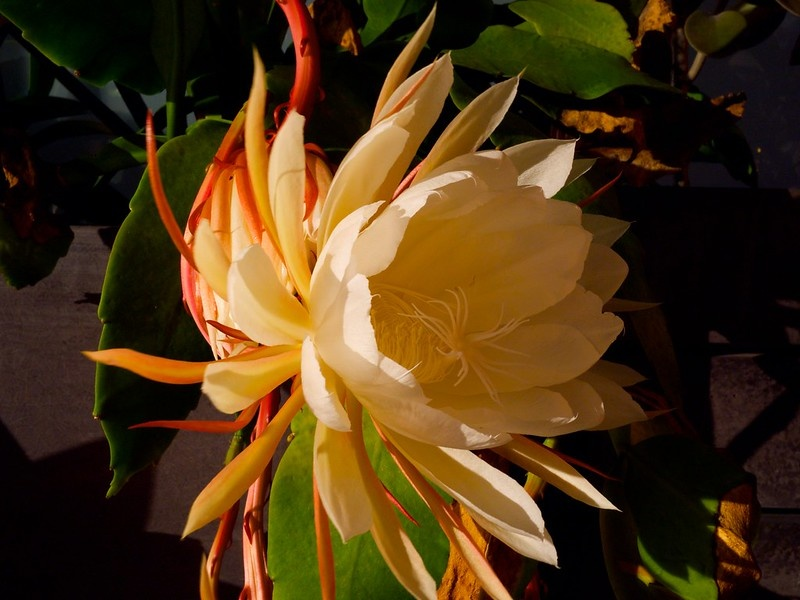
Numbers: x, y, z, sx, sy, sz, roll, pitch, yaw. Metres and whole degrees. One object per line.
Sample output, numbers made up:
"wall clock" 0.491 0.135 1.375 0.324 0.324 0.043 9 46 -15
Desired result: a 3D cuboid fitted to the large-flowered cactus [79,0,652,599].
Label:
"large-flowered cactus" -0.018 0.052 1.040 0.660 0.403 0.718 12 77 0
